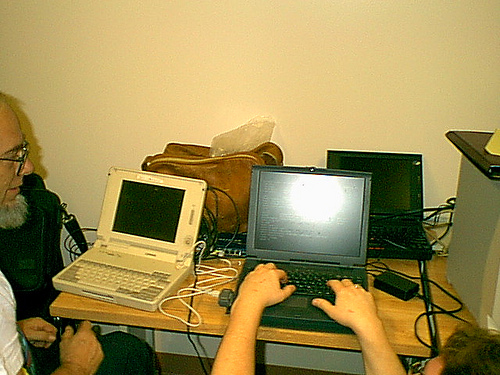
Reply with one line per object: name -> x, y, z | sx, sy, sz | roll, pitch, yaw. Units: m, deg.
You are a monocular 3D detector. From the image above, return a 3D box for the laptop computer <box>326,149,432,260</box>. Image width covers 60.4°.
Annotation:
laptop computer -> 0.499, 0.065, 1.752 | 0.433, 0.390, 0.326 | 1, 20, 17

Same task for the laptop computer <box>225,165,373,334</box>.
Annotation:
laptop computer -> 0.218, 0.195, 1.495 | 0.471, 0.355, 0.512 | 5, 27, -2

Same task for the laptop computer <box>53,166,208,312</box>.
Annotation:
laptop computer -> -0.418, 0.176, 1.650 | 0.537, 0.392, 0.520 | 11, 27, 15

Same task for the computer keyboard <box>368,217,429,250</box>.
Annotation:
computer keyboard -> 0.605, 0.195, 1.732 | 0.212, 0.127, 0.039 | 4, -17, 1

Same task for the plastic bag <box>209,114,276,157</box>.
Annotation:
plastic bag -> -0.033, -0.233, 1.986 | 0.283, 0.182, 0.073 | -3, -13, 7
